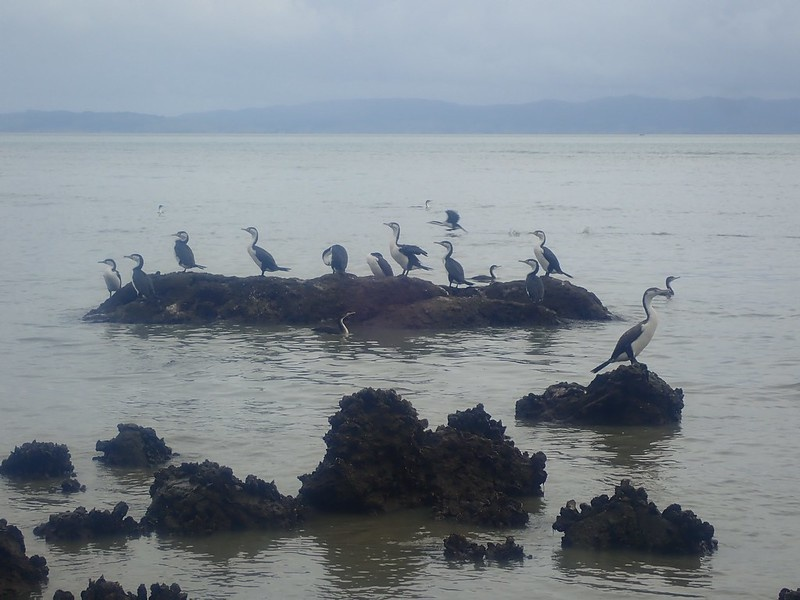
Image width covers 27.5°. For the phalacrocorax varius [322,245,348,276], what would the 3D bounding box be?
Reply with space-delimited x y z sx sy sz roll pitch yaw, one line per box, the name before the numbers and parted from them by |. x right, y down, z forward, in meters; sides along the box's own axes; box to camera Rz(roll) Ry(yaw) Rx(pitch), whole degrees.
phalacrocorax varius | -1.925 -1.246 47.031 0.633 1.064 0.462 24 -53 -37
